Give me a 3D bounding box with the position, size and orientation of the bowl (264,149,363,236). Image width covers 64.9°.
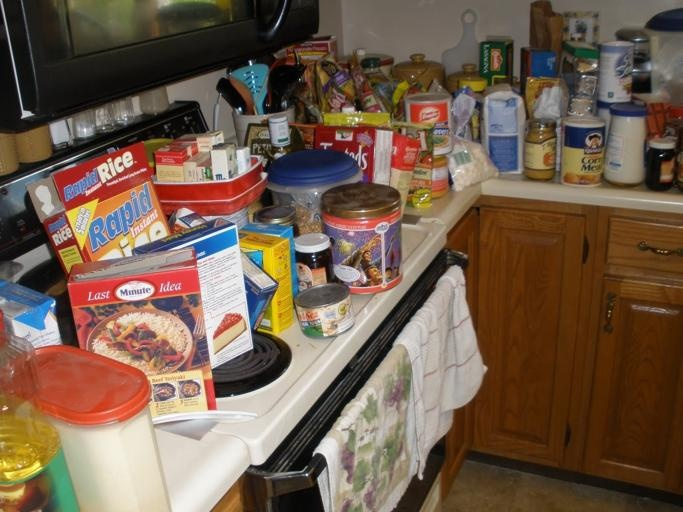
[{"bbox_3d":[-0.066,-0.164,1.201,0.178,0.169,0.192,-3,28,1],"label":"bowl"}]

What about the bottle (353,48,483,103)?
[{"bbox_3d":[0.257,-0.647,1.884,0.450,0.148,0.510,-2,22,2],"label":"bottle"}]

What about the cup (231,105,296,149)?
[{"bbox_3d":[-0.211,-0.367,1.464,0.138,0.106,0.133,-3,22,1],"label":"cup"}]

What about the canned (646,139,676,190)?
[{"bbox_3d":[0.919,-0.262,1.541,0.080,0.142,0.047,7,22,23],"label":"canned"}]

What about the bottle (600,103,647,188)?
[{"bbox_3d":[0.843,-0.329,1.590,0.117,0.224,0.099,3,21,14],"label":"bottle"}]

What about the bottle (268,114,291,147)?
[{"bbox_3d":[-0.149,-0.305,1.303,0.059,0.072,0.064,-2,37,2],"label":"bottle"}]

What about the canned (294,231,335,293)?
[{"bbox_3d":[-0.055,0.013,1.086,0.063,0.105,0.063,24,43,39],"label":"canned"}]

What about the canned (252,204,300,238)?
[{"bbox_3d":[-0.124,-0.091,1.106,0.066,0.076,0.069,-6,32,-7],"label":"canned"}]
